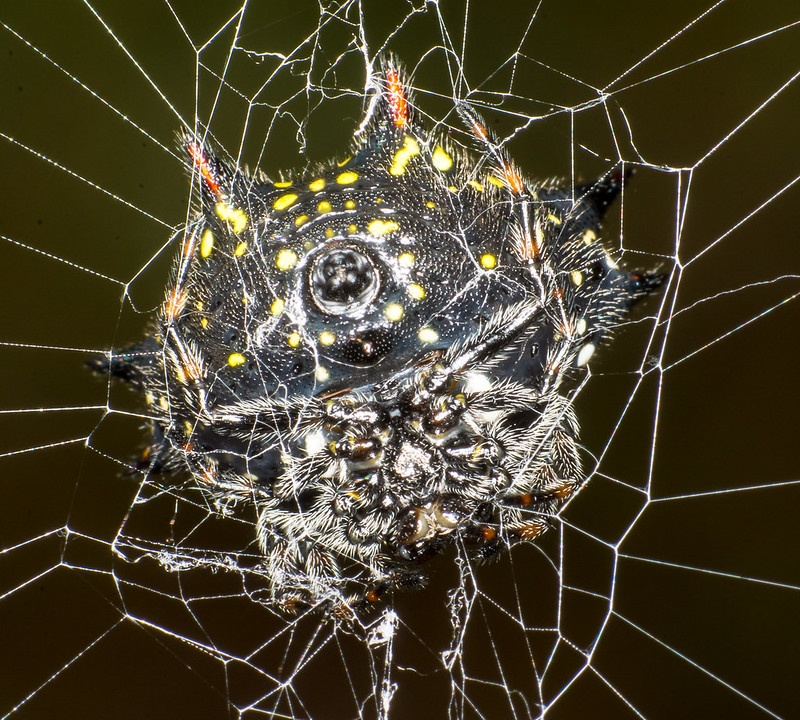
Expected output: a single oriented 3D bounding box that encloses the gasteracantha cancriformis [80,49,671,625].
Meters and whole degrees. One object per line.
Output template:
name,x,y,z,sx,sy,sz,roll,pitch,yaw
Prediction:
gasteracantha cancriformis,-0.045,-0.040,2.298,1.165,0.344,1.245,41,-86,-4
